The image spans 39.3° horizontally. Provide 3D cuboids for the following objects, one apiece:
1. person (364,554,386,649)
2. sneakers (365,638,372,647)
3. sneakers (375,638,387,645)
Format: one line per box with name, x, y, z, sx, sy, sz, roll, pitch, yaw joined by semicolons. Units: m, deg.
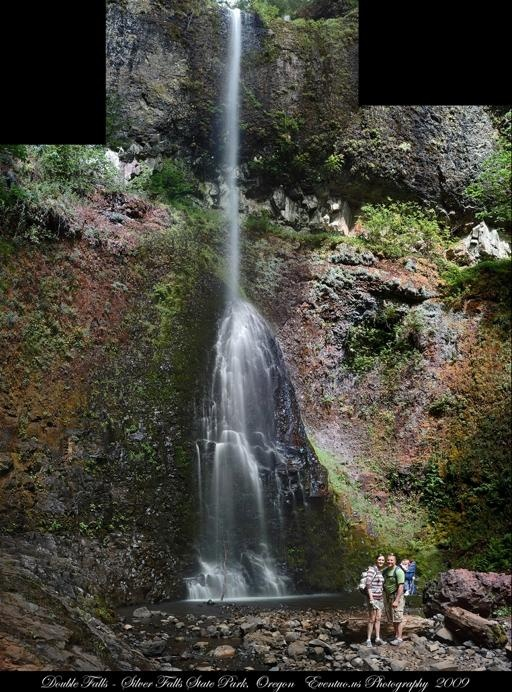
person;1.543;3.285;9.373;0.268;1.101;0.498;3;3;10
sneakers;1.439;3.794;9.211;0.088;0.107;0.099;3;3;11
sneakers;1.587;3.805;9.260;0.171;0.069;0.061;11;-12;-11
